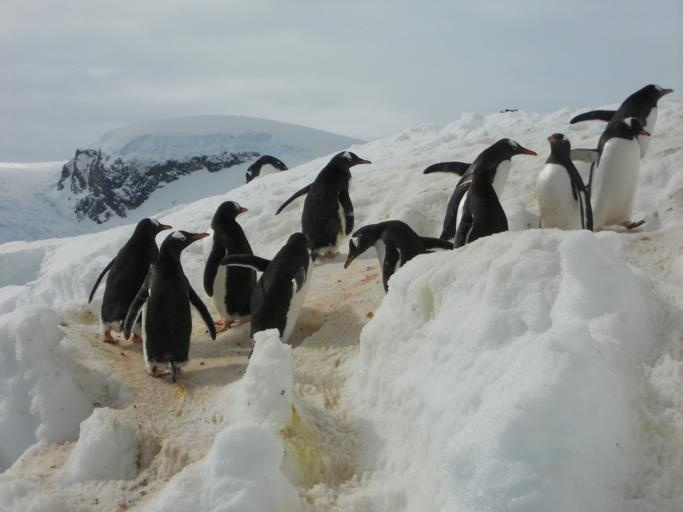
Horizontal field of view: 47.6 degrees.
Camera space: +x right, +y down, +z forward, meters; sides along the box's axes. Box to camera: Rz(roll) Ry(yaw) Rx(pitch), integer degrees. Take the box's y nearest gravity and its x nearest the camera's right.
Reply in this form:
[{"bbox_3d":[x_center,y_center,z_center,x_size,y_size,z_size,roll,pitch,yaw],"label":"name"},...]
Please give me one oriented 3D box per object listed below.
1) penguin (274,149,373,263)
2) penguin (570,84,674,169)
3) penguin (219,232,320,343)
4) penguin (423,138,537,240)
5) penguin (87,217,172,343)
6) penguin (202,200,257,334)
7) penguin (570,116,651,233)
[{"bbox_3d":[-0.155,-0.587,9.123,1.020,1.301,0.575,-3,6,-22],"label":"penguin"},{"bbox_3d":[3.049,-1.411,8.540,1.262,0.883,1.145,-8,17,-22],"label":"penguin"},{"bbox_3d":[-0.612,0.251,7.136,0.424,1.038,0.802,19,3,-45],"label":"penguin"},{"bbox_3d":[1.382,-0.624,7.596,0.929,1.124,0.969,-12,17,-35],"label":"penguin"},{"bbox_3d":[-2.136,0.253,7.832,0.841,1.314,0.606,14,17,6],"label":"penguin"},{"bbox_3d":[-1.175,0.092,7.995,0.674,1.231,0.726,-7,13,-13],"label":"penguin"},{"bbox_3d":[2.643,-0.793,7.868,1.057,0.900,0.960,-15,5,-35],"label":"penguin"}]
